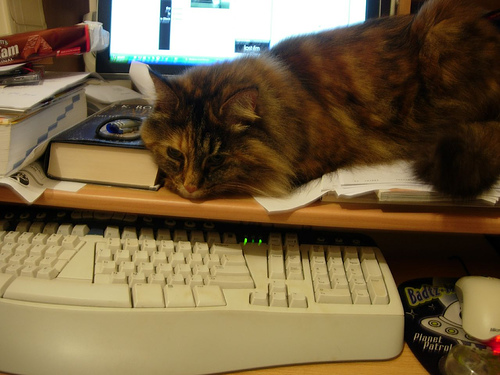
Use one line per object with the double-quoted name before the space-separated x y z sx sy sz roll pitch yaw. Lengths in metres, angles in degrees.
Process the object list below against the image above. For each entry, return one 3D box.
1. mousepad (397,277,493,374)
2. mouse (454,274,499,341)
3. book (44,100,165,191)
"mousepad" 0.335 0.243 0.761 0.105 0.023 0.141 0 35 -2
"mouse" 0.404 0.208 0.734 0.060 0.034 0.105 7 52 13
"book" -0.313 -0.015 0.935 0.232 0.099 0.301 5 -20 -17
